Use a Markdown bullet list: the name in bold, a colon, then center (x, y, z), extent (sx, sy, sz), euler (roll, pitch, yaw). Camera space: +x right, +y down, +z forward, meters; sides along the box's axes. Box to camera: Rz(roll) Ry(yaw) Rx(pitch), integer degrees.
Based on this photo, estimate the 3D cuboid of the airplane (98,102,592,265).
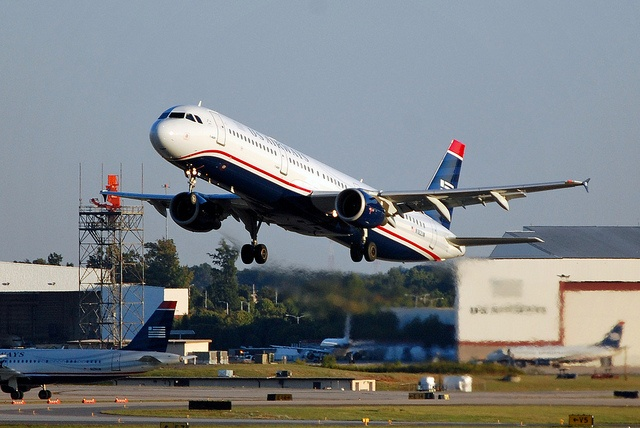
- **airplane**: center (-0.301, -0.733, 72.182), extent (13.698, 4.756, 12.958), euler (-5, -21, 43)
